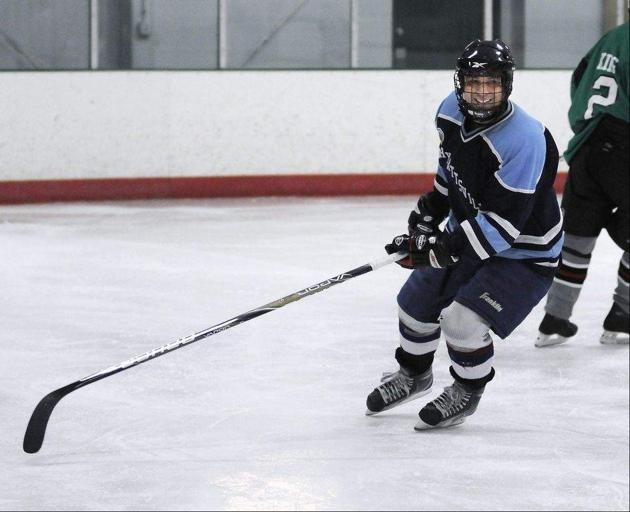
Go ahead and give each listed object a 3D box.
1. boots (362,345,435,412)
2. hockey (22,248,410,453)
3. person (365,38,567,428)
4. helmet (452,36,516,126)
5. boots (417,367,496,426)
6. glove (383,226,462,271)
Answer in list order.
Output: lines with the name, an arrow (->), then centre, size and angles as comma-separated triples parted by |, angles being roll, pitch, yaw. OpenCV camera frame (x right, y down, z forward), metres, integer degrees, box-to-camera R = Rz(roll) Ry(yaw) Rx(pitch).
boots -> 0.254, 0.384, 2.850 | 0.282, 0.142, 0.094 | -12, 28, -35
hockey -> -0.340, 0.330, 3.163 | 1.449, 0.180, 0.102 | -17, 42, -11
person -> 0.460, -0.072, 2.751 | 0.516, 1.111, 0.483 | 5, 15, 19
helmet -> 0.496, -0.506, 2.702 | 0.166, 0.243, 0.183 | 2, 14, 8
boots -> 0.398, 0.433, 2.737 | 0.284, 0.114, 0.089 | -1, 14, -44
glove -> 0.337, -0.018, 2.812 | 0.323, 0.106, 0.177 | 1, 3, 24
